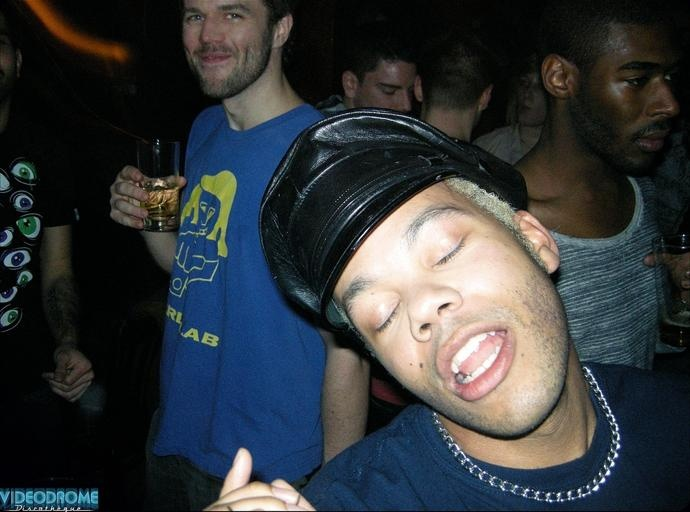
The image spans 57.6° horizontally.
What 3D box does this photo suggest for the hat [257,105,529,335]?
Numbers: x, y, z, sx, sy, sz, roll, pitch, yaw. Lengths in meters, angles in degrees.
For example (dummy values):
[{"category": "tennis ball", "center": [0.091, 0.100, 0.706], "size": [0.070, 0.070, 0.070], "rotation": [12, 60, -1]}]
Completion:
[{"category": "hat", "center": [0.159, -0.224, 3.121], "size": [1.086, 0.930, 0.561], "rotation": [-15, 39, -25]}]
